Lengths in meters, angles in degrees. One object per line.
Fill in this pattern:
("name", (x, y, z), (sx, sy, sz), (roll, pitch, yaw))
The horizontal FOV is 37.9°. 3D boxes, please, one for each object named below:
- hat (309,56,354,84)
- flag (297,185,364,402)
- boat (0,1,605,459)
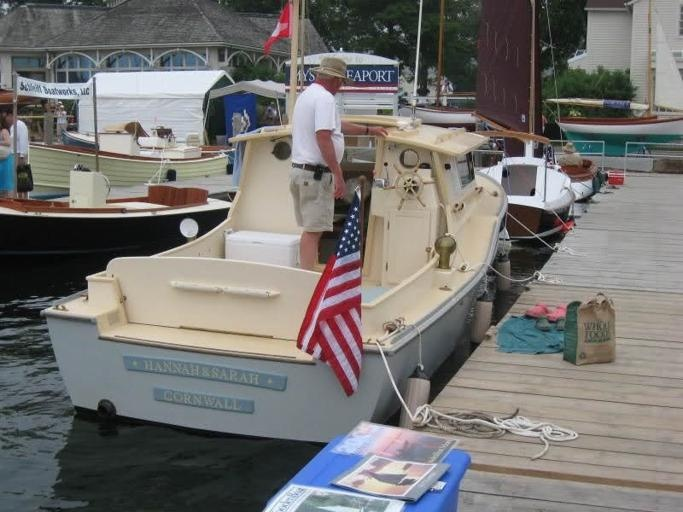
("hat", (-0.050, -1.837, 9.782), (0.343, 0.141, 0.374), (19, 10, 13))
("flag", (-0.089, 0.343, 8.679), (0.672, 1.796, 0.313), (-6, 10, -17))
("boat", (-0.346, -0.211, 9.807), (2.834, 3.436, 4.319), (5, 12, 40))
